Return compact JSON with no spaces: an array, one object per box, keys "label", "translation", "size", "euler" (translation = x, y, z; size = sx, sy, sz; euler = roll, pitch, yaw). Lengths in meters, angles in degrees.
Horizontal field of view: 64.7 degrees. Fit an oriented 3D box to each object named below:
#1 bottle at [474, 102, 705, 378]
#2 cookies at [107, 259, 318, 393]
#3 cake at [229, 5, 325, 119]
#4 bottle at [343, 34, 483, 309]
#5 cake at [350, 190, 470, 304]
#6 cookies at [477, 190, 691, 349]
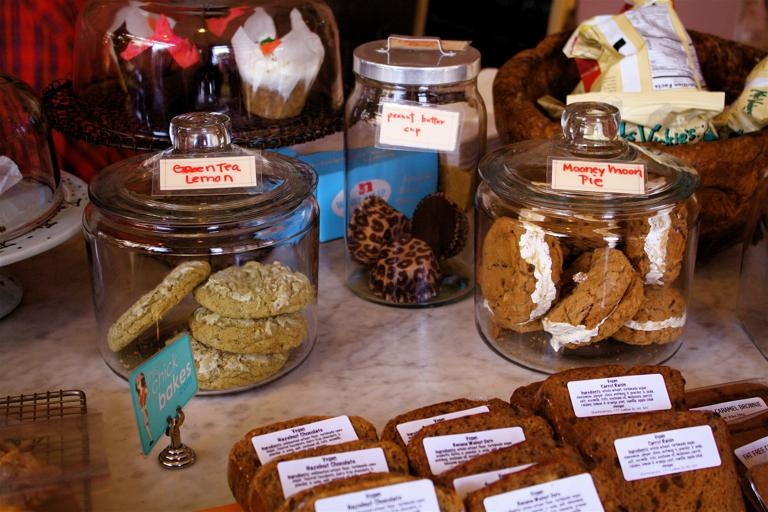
[{"label":"bottle","translation":[0.359,-0.079,1.079],"size":[0.370,0.385,0.353],"euler":[-5,25,2]},{"label":"cookies","translation":[-0.260,0.096,0.975],"size":[0.285,0.109,0.209],"euler":[4,27,2]},{"label":"cake","translation":[-0.188,-0.422,1.305],"size":[0.224,0.236,0.217],"euler":[12,27,19]},{"label":"bottle","translation":[0.050,-0.164,1.178],"size":[0.279,0.462,0.277],"euler":[0,34,0]},{"label":"cake","translation":[0.051,-0.049,1.235],"size":[0.193,0.102,0.250],"euler":[8,29,-1]},{"label":"cookies","translation":[0.329,0.005,1.035],"size":[0.272,0.242,0.276],"euler":[14,25,35]}]
